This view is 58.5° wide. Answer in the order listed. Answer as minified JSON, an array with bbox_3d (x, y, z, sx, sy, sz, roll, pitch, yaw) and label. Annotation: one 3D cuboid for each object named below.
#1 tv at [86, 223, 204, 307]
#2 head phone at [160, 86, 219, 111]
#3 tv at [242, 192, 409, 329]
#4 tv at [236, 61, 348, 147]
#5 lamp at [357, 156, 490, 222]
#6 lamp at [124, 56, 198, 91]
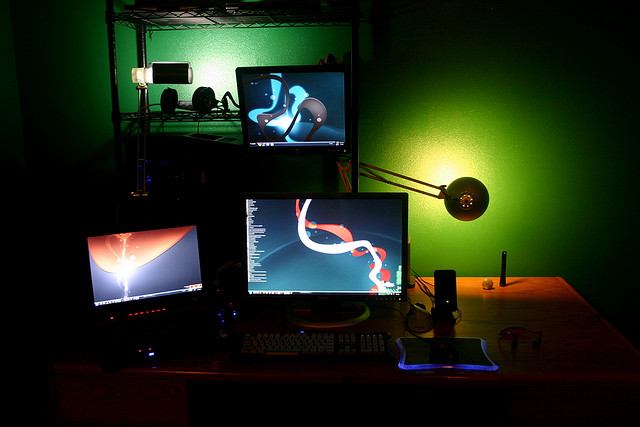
[{"bbox_3d":[-0.956,0.271,3.019,0.450,0.281,0.019,-8,3,-12],"label":"tv"},{"bbox_3d":[-0.737,-0.660,3.240,0.298,0.146,0.134,3,14,3],"label":"head phone"},{"bbox_3d":[0.028,0.233,3.107,0.788,0.548,0.310,-1,1,2],"label":"tv"},{"bbox_3d":[-0.140,-0.604,3.141,0.540,0.364,0.059,0,22,1],"label":"tv"},{"bbox_3d":[0.620,-0.154,3.505,0.883,0.234,0.228,15,4,34],"label":"lamp"},{"bbox_3d":[-0.949,-0.804,3.319,0.494,0.190,0.139,-2,16,7],"label":"lamp"}]
